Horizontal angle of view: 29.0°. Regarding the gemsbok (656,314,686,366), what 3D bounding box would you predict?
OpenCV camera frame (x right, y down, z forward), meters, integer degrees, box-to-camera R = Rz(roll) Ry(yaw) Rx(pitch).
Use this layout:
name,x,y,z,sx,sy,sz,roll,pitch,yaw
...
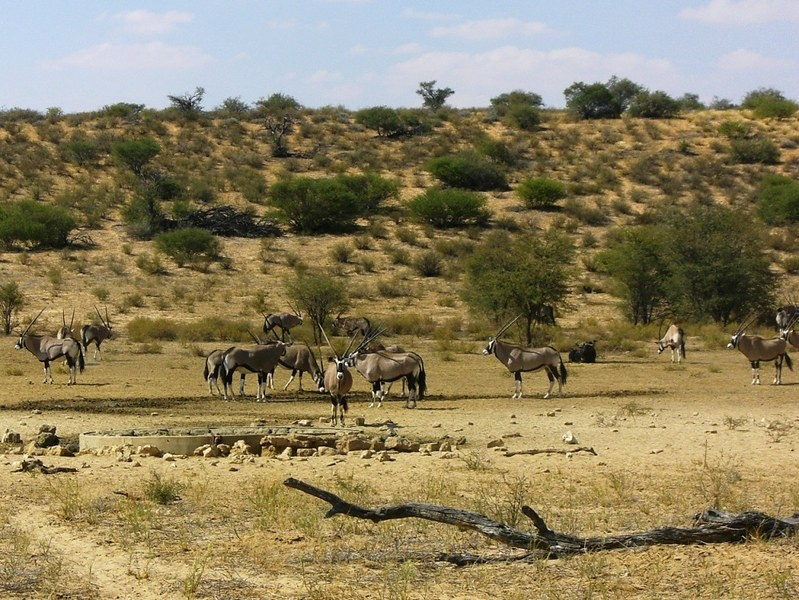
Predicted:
name,x,y,z,sx,sy,sz,roll,pitch,yaw
gemsbok,10.521,1.626,59.612,0.927,1.367,2.150,-3,0,-1
